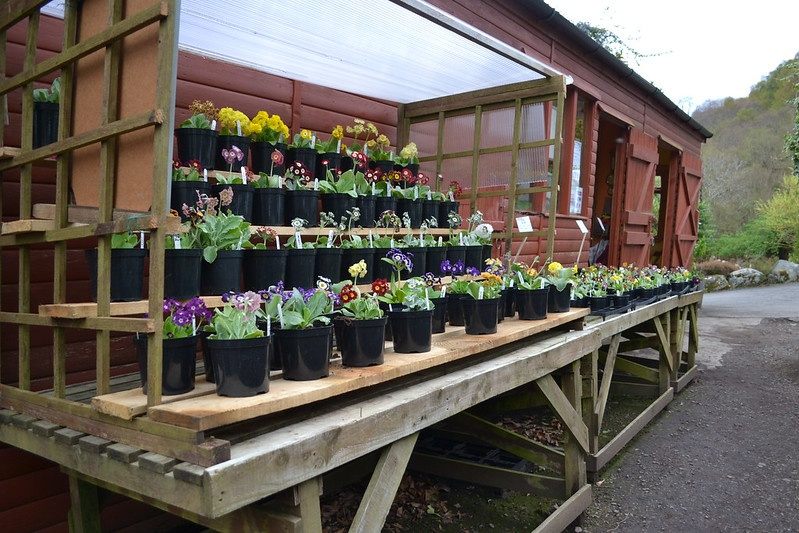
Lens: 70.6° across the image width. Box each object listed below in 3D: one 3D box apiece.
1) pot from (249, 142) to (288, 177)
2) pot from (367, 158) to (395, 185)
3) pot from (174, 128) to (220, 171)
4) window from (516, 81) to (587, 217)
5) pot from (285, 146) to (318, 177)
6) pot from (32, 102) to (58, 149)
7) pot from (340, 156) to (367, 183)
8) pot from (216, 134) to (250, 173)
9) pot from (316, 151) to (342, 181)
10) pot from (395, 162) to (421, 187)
[{"bbox_3d":[-0.842,-0.656,3.586,0.231,0.179,0.230,2,5,0],"label":"pot"},{"bbox_3d":[-0.132,-0.717,4.232,0.204,0.152,0.206,-1,-2,0],"label":"pot"},{"bbox_3d":[-1.164,-0.689,3.265,0.246,0.189,0.240,2,4,0],"label":"pot"},{"bbox_3d":[1.575,-1.210,5.843,0.088,2.053,2.017,-1,0,33],"label":"window"},{"bbox_3d":[-0.650,-0.696,3.764,0.185,0.141,0.188,1,5,0],"label":"pot"},{"bbox_3d":[-1.996,-0.801,3.190,0.117,0.279,0.232,-4,1,-35],"label":"pot"},{"bbox_3d":[-0.309,-0.675,4.003,0.218,0.174,0.213,-1,-5,0],"label":"pot"},{"bbox_3d":[-1.002,-0.697,3.441,0.219,0.171,0.220,0,-9,0],"label":"pot"},{"bbox_3d":[-0.492,-0.706,3.952,0.179,0.142,0.181,-2,1,0],"label":"pot"},{"bbox_3d":[0.067,-0.726,4.414,0.189,0.149,0.189,0,-4,0],"label":"pot"}]
